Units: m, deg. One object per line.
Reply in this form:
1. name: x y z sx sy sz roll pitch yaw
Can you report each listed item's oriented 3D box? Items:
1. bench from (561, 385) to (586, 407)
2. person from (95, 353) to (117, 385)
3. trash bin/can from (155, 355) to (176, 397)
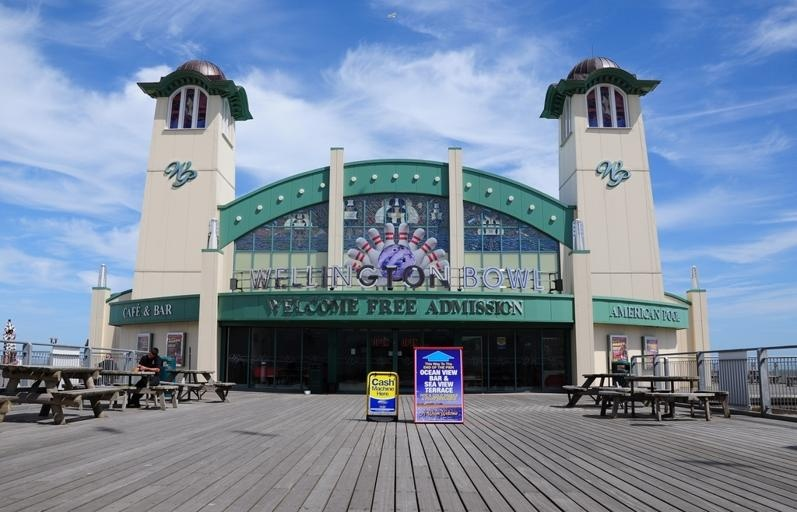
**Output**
1. bench: 6.410 5.052 22.085 0.757 0.771 2.458 -5 -14 16
2. person: -11.283 4.401 23.652 0.444 1.980 1.371 7 -4 -22
3. trash bin/can: -8.761 4.586 23.341 0.846 1.381 0.833 9 -6 -34
